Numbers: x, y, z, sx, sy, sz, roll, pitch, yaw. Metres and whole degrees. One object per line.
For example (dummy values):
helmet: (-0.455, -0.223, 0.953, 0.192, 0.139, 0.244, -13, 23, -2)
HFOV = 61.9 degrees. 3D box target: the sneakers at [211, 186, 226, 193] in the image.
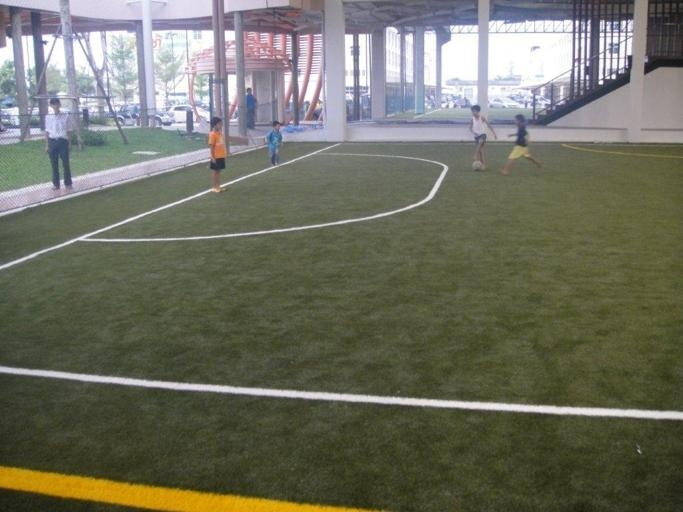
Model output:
sneakers: (-2.760, -1.428, 12.698, 0.297, 0.132, 0.155, -2, 8, 43)

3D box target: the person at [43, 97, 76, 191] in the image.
person: (-6.364, -2.485, 12.905, 0.506, 1.977, 0.890, -7, 17, -26)

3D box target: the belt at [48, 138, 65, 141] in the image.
belt: (-6.362, -2.596, 12.820, 0.318, 0.086, 0.083, -10, 18, -32)

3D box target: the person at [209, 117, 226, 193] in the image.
person: (-2.835, -2.368, 13.088, 0.351, 1.648, 2.700, -3, 16, -12)

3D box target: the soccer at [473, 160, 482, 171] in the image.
soccer: (3.629, -2.447, 15.416, 0.258, 0.274, 0.244, 9, -15, -36)
